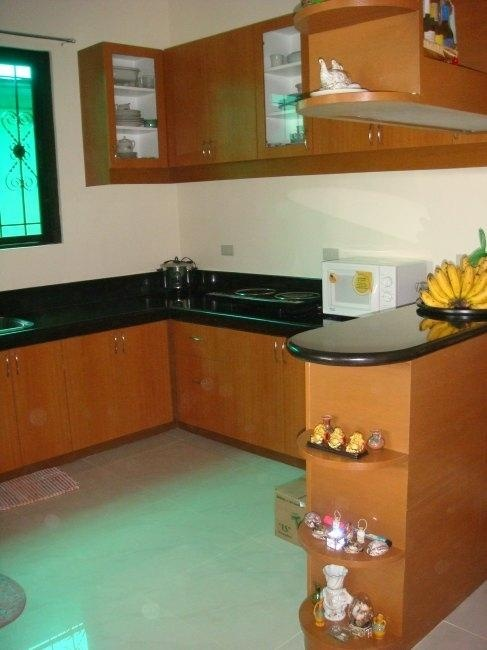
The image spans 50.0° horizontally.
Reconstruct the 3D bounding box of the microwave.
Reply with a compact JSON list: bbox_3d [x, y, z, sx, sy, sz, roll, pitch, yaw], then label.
[{"bbox_3d":[0.731,-0.219,2.776,0.348,0.304,0.473,-14,17,-42],"label":"microwave"}]

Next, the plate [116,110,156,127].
[{"bbox_3d":[-0.736,-1.413,3.584,0.193,0.074,0.252,-7,14,-31],"label":"plate"}]

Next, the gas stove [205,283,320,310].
[{"bbox_3d":[0.181,-0.178,3.478,0.426,0.109,0.920,-8,9,-39],"label":"gas stove"}]

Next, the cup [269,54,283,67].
[{"bbox_3d":[0.195,-1.513,3.001,0.082,0.060,0.083,0,10,0],"label":"cup"}]

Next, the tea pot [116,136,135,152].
[{"bbox_3d":[-0.803,-1.224,3.590,0.138,0.114,0.100,-2,6,-26],"label":"tea pot"}]

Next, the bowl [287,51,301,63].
[{"bbox_3d":[0.282,-1.479,2.897,0.087,0.056,0.077,8,17,31],"label":"bowl"}]
